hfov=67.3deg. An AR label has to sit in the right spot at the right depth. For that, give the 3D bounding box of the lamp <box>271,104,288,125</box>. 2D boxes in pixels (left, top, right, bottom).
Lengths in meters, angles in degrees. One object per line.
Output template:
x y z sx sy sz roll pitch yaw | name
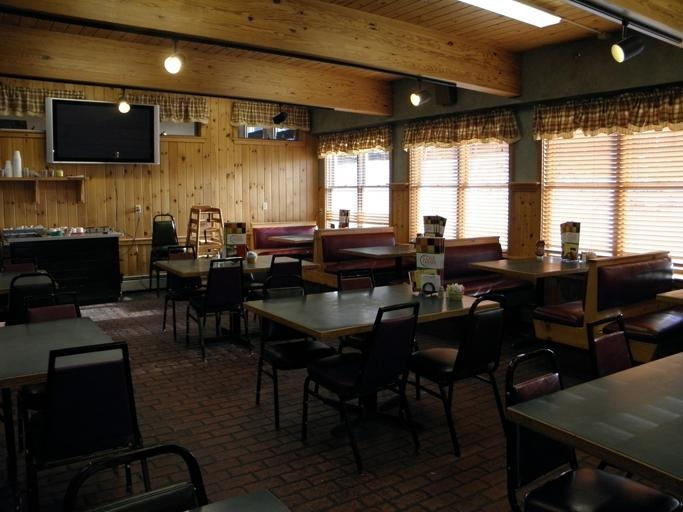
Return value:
-1.122 -2.595 9.375 0.281 0.410 0.657 -2 7 -5 | lamp
